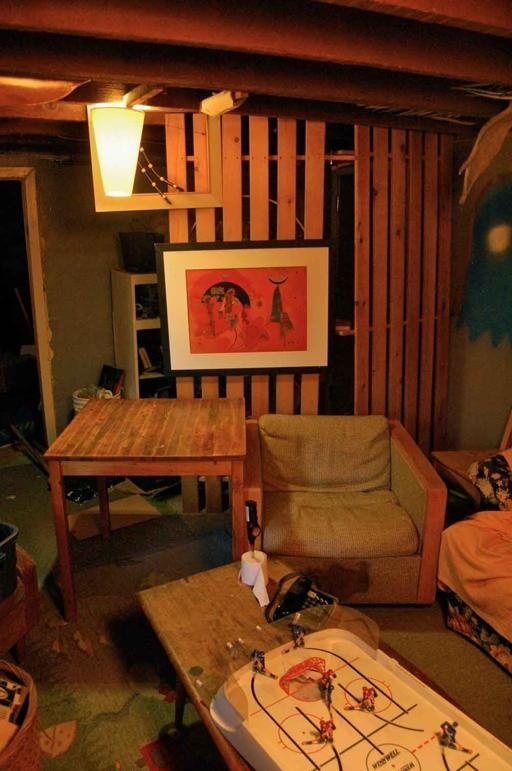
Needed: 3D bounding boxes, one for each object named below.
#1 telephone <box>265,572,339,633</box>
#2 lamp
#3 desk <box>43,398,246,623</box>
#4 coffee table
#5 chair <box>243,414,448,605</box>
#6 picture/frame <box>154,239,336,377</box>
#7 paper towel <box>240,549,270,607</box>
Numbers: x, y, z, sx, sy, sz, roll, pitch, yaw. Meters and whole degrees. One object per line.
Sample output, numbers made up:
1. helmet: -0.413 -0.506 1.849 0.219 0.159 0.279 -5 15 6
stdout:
1. telephone: 0.211 0.819 2.248 0.231 0.068 0.246 12 1 -9
2. lamp: -0.584 -1.005 2.525 0.216 0.364 0.259 -4 15 -12
3. desk: -0.548 0.637 3.288 1.043 1.027 1.108 0 27 0
4. coffee table: -0.031 0.850 2.154 0.587 0.263 1.015 -11 22 -19
5. chair: 0.471 0.579 3.419 0.959 0.832 1.036 0 12 1
6. picture/frame: -0.055 -0.488 3.601 0.847 0.688 0.035 -1 11 -2
7. paper towel: -0.007 0.756 2.338 0.109 0.164 0.179 -4 20 -14
